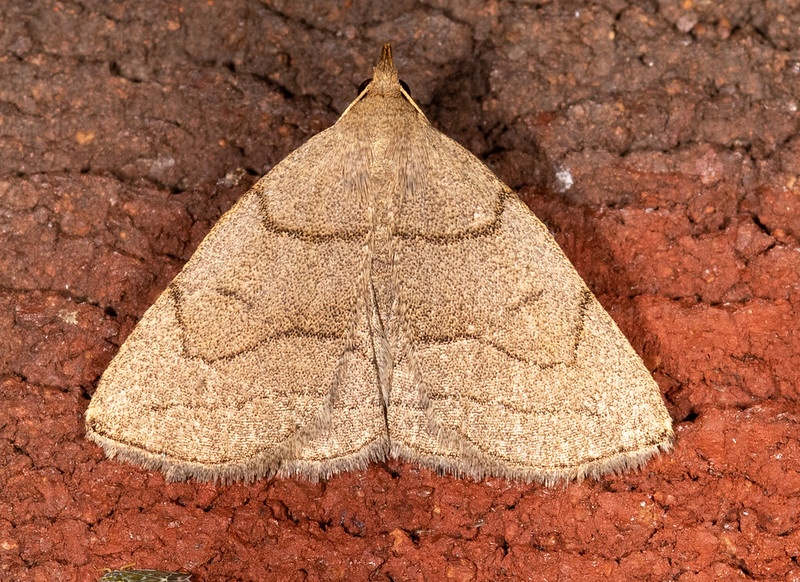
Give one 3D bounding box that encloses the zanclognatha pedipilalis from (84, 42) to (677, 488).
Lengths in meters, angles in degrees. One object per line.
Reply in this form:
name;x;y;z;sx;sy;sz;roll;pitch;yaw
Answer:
zanclognatha pedipilalis;-0.146;0.179;7.613;3.459;0.419;2.207;0;84;-1
